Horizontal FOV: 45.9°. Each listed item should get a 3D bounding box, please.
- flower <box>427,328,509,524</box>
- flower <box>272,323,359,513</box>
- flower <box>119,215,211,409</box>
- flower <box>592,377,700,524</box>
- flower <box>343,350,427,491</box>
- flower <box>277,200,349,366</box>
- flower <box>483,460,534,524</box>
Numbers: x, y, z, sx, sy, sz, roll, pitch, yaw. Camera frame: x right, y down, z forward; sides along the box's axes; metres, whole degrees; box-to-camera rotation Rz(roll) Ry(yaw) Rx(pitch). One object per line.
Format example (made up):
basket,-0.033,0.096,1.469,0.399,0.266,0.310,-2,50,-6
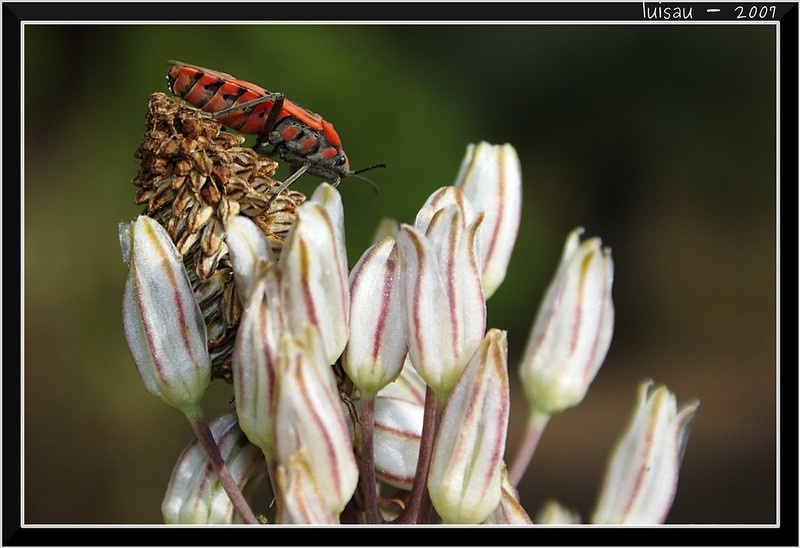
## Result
flower,0.186,0.383,2.316,0.155,0.453,0.216,10,-17,-37
flower,-0.193,0.364,2.216,0.199,0.438,0.163,3,-14,-12
flower,-0.575,0.113,2.349,0.224,0.453,0.196,3,-14,-14
flower,0.663,0.486,2.602,0.179,0.655,0.186,20,44,24
flower,-0.049,0.431,2.584,0.297,0.255,0.100,7,-10,-31
flower,-0.216,0.032,2.333,0.185,0.548,0.166,-13,40,-23
flower,0.286,0.609,2.494,0.111,0.172,0.240,-2,40,4
